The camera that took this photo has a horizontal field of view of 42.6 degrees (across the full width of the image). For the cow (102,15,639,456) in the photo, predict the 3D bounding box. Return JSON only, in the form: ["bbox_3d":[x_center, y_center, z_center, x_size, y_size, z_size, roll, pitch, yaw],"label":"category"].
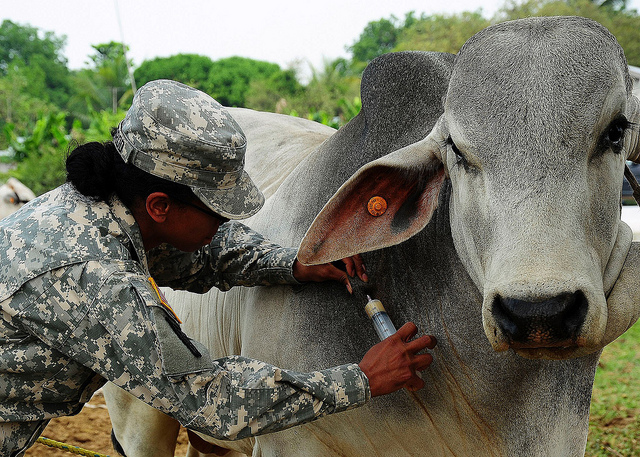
[{"bbox_3d":[0.305,0.222,3.654,2.142,2.058,1.045,6,25,44],"label":"cow"}]

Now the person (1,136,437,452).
[{"bbox_3d":[-0.560,0.371,3.353,1.326,0.554,1.371,22,12,-4],"label":"person"}]
